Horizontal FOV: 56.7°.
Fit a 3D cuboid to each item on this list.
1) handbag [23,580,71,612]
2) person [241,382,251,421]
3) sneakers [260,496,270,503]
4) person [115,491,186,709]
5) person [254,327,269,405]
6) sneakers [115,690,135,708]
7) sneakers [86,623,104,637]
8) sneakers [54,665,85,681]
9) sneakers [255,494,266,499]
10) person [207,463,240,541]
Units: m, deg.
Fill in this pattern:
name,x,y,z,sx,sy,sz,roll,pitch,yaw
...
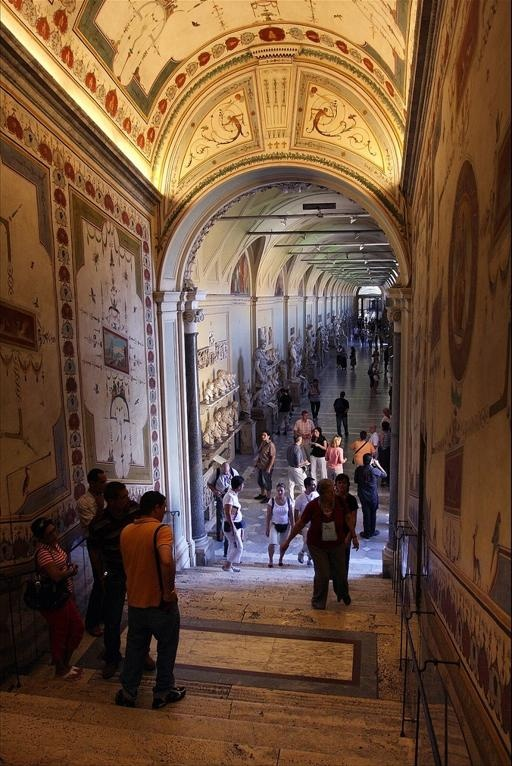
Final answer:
name,x,y,z,sx,sy,sz,roll,pitch,yaw
handbag,-1.457,1.485,3.321,0.264,0.348,0.157,0,-3,-5
person,-0.371,0.641,15.904,0.369,1.251,0.256,1,-8,-3
sneakers,0.241,2.872,11.628,0.124,0.212,0.427,-1,-8,10
person,-0.695,1.417,3.117,0.461,1.391,0.621,2,-8,-4
person,0.207,-0.688,17.462,0.503,3.026,1.517,1,-8,3
sneakers,-0.847,2.043,3.053,0.126,0.103,0.132,4,-10,-13
sneakers,-1.465,2.236,4.313,0.111,0.049,0.119,21,3,-3
sneakers,-1.379,2.128,3.487,0.116,0.054,0.100,4,1,-7
sneakers,0.120,2.810,11.777,0.258,0.142,0.097,0,-3,27
person,-0.555,2.118,8.388,0.470,1.666,0.470,-1,21,-5
